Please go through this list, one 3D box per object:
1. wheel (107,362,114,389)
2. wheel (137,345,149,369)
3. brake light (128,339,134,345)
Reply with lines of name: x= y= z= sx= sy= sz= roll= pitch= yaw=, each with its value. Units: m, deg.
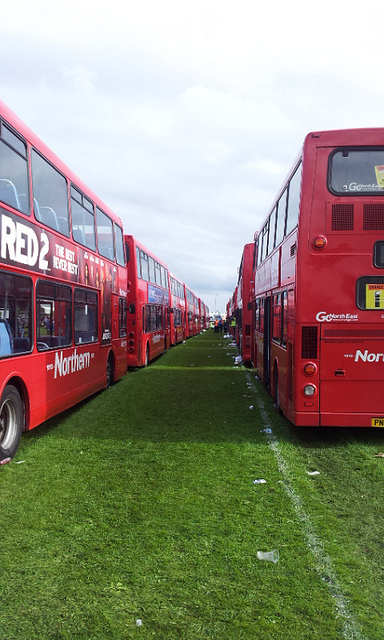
wheel: x=-2.146 y=1.435 z=10.516 sx=0.150 sy=0.535 sz=0.493 roll=1 pitch=0 yaw=-11
wheel: x=-1.841 y=1.377 z=14.895 sx=0.262 sy=0.934 sz=0.856 roll=2 pitch=4 yaw=3
brake light: x=-2.120 y=0.770 z=13.991 sx=0.204 sy=0.177 sz=0.066 roll=0 pitch=-2 yaw=5
